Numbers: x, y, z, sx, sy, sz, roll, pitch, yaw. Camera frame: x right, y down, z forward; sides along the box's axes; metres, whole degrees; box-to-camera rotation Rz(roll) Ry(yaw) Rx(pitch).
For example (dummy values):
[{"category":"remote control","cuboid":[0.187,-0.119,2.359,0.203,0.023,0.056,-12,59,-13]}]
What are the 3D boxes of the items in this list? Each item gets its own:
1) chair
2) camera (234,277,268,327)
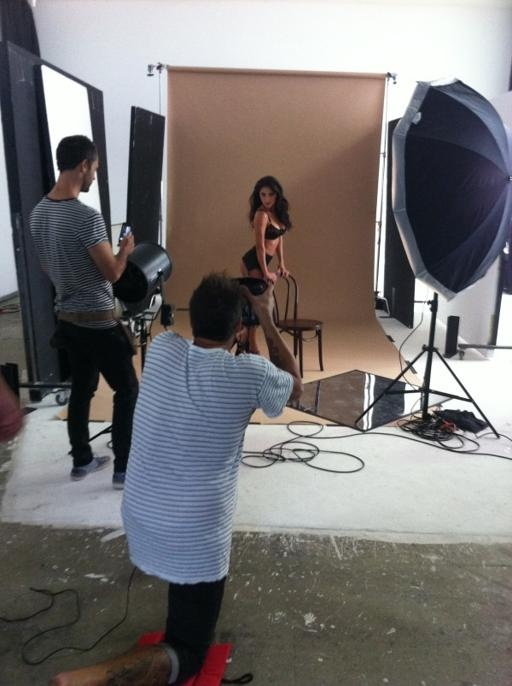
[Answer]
[{"category":"chair","cuboid":[0.264,-0.171,4.125,0.348,0.772,0.328,1,6,4]},{"category":"camera","cuboid":[-0.019,-0.112,1.470,0.073,0.139,0.051,4,7,24]}]
